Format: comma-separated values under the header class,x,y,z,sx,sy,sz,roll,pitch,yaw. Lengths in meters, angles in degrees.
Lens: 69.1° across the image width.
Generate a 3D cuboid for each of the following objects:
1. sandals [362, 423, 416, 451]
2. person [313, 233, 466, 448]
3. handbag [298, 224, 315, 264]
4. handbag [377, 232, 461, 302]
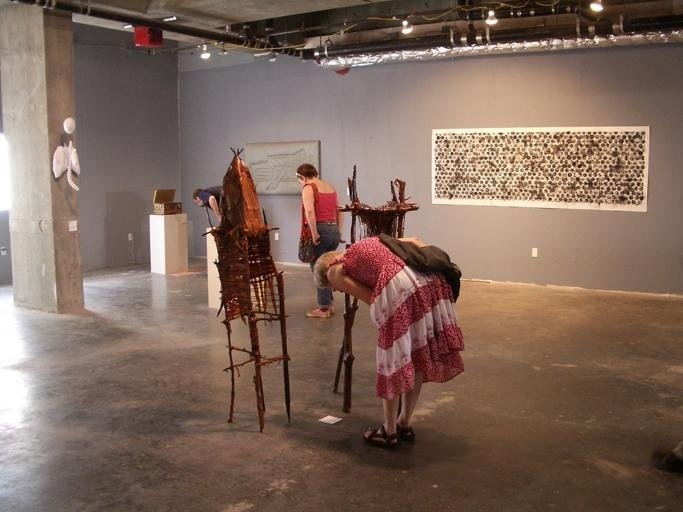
class,x,y,z,sx,sy,sz,roll,pitch,yaw
sandals,0.300,1.208,3.410,0.172,0.082,0.229,1,-2,-40
person,0.425,0.389,3.753,1.267,1.536,0.928,3,6,36
handbag,-0.446,-0.149,6.271,0.176,0.505,0.308,-2,10,-5
handbag,0.536,0.030,3.156,0.494,0.168,0.397,16,12,-4
